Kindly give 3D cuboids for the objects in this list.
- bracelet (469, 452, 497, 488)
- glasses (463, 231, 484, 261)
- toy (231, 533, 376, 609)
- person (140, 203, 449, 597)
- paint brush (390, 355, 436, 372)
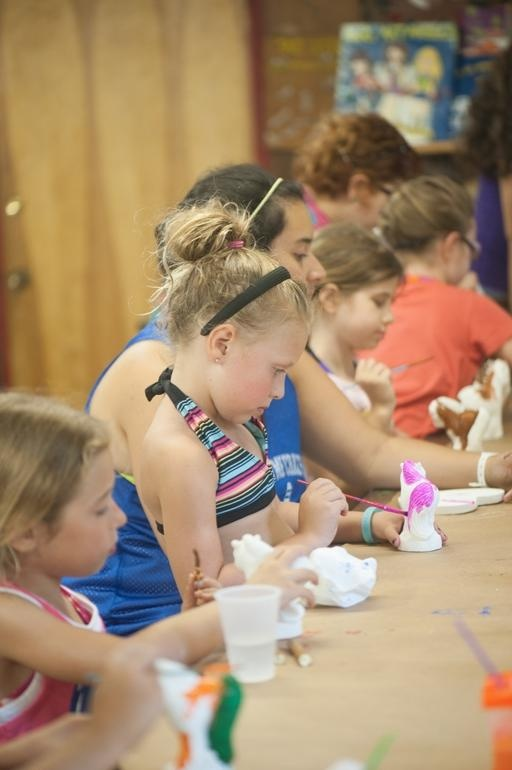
[{"bbox_3d":[0.469,0.179,1.627,0.020,0.066,0.054,20,-26,0],"label":"bracelet"},{"bbox_3d":[0.496,-0.320,1.792,0.022,0.051,0.043,-11,0,-27],"label":"glasses"},{"bbox_3d":[0.060,0.206,0.858,0.150,0.050,0.092,15,-12,-3],"label":"toy"},{"bbox_3d":[0.215,0.075,1.916,0.380,0.881,0.308,1,-21,-18],"label":"person"},{"bbox_3d":[0.387,-0.053,1.912,0.092,0.025,0.015,-12,51,20],"label":"paint brush"}]
